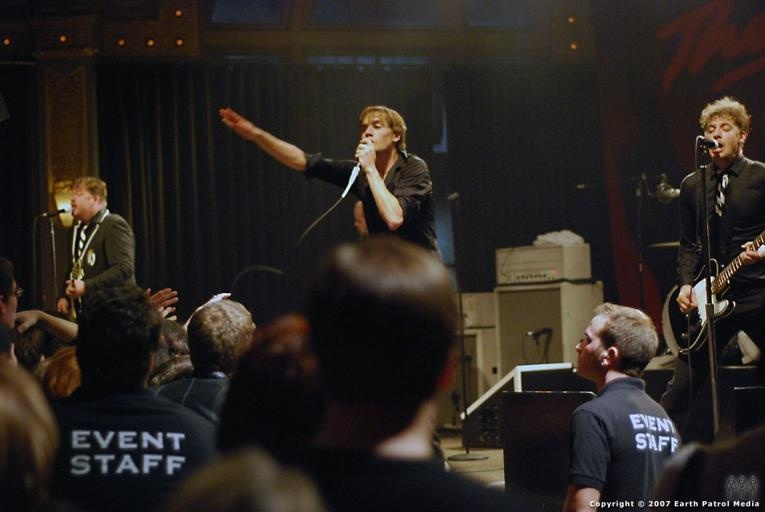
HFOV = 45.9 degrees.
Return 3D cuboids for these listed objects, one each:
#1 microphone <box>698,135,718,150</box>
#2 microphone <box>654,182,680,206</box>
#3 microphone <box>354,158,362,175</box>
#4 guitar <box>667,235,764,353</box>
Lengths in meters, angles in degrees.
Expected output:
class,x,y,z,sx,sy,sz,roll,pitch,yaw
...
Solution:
class,x,y,z,sx,sy,sz,roll,pitch,yaw
microphone,2.083,-0.731,5.819,0.106,0.078,0.167,1,-4,32
microphone,2.487,-0.552,7.902,0.286,0.181,0.169,3,-6,31
microphone,-0.142,-0.526,5.268,0.028,0.095,0.025,7,16,-33
guitar,2.228,0.241,6.020,0.104,0.298,0.768,9,-32,-14
